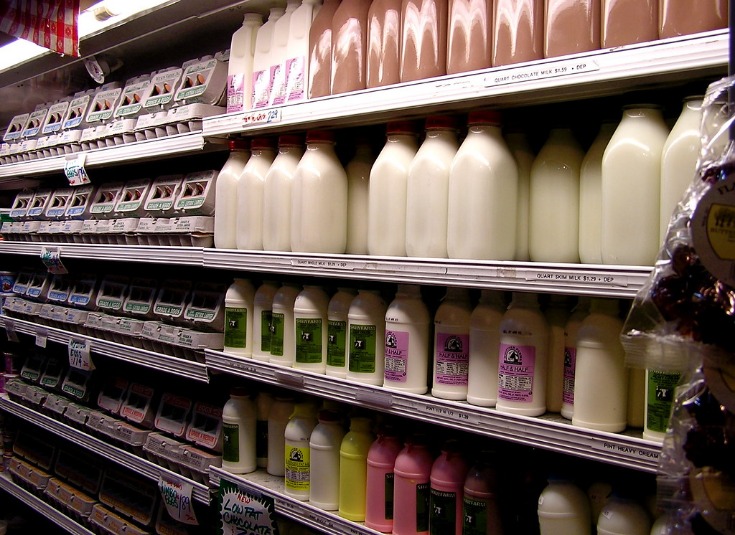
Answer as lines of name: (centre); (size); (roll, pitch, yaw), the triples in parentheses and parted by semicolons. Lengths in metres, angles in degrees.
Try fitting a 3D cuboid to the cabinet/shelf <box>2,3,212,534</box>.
cabinet/shelf: (-1.379, 0.261, 2.877); (1.961, 2.125, 0.531); (-7, -12, 39)
